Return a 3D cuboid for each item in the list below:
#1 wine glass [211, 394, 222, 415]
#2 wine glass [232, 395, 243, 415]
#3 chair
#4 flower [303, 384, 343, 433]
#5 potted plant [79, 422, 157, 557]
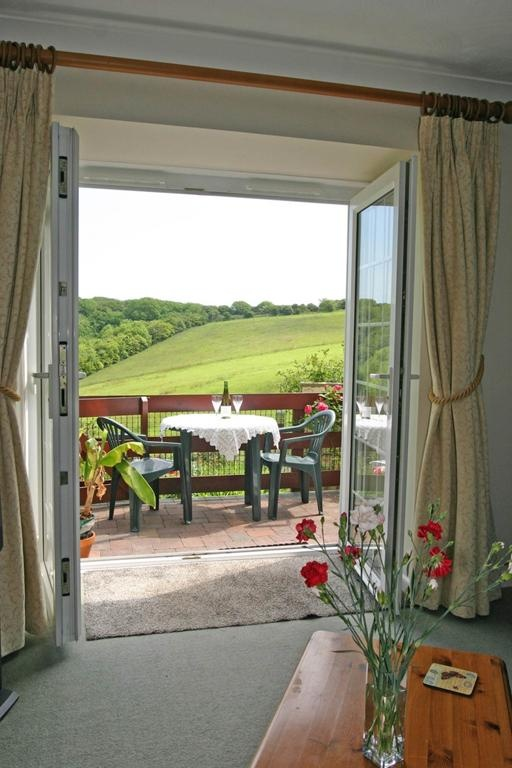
[{"bbox_3d":[-0.323,0.173,4.449,0.114,0.204,0.113,2,1,-15],"label":"wine glass"},{"bbox_3d":[-0.162,0.167,4.448,0.064,0.144,0.204,0,0,-4],"label":"wine glass"},{"bbox_3d":[-0.818,0.637,4.123,0.607,0.824,0.630,-2,4,-9],"label":"chair"},{"bbox_3d":[0.637,0.266,5.324,0.382,0.446,0.425,0,10,0],"label":"flower"},{"bbox_3d":[-0.988,0.676,3.823,0.463,0.715,1.333,1,0,-18],"label":"potted plant"}]
